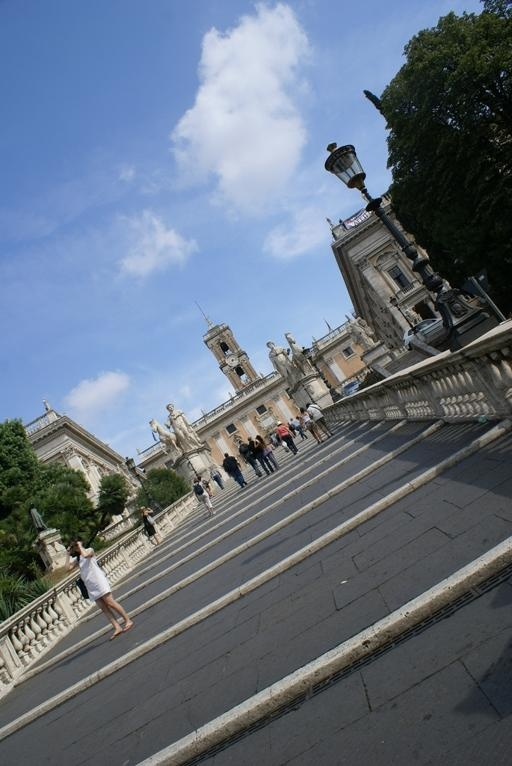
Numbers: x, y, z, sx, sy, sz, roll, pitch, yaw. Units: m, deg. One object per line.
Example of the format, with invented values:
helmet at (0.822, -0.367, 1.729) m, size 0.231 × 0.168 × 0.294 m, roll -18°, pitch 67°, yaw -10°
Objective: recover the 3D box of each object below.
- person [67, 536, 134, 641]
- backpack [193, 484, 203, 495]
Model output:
person at (-2.020, 2.634, 7.599) m, size 0.343 × 1.322 × 0.930 m, roll -31°, pitch -4°, yaw -23°
backpack at (-1.802, 3.344, 18.591) m, size 0.281 × 0.383 × 0.145 m, roll -20°, pitch -4°, yaw -12°
